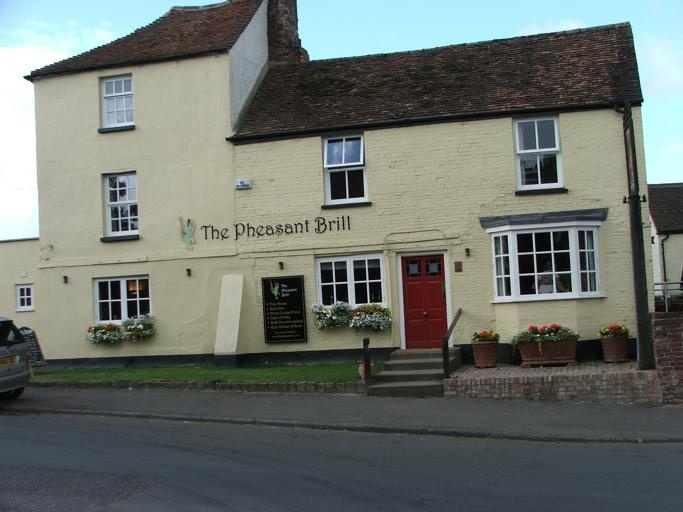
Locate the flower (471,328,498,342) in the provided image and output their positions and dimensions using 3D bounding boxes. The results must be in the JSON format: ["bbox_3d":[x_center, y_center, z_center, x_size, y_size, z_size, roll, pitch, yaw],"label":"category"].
[{"bbox_3d":[3.771,2.081,24.537,0.710,0.307,0.873,-2,-5,8],"label":"flower"}]

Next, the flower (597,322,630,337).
[{"bbox_3d":[6.914,1.889,23.989,0.465,0.238,0.449,-3,-3,-29],"label":"flower"}]

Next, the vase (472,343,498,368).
[{"bbox_3d":[3.684,2.544,24.387,0.807,0.592,0.636,-1,-6,4],"label":"vase"}]

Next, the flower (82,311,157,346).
[{"bbox_3d":[-6.419,2.127,27.099,1.957,0.881,0.616,-3,-5,20],"label":"flower"}]

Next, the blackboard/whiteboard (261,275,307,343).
[{"bbox_3d":[-1.627,1.469,26.258,1.179,1.802,0.261,-3,-5,17],"label":"blackboard/whiteboard"}]

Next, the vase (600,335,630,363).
[{"bbox_3d":[7.044,2.387,24.095,0.736,0.550,0.678,-1,-6,5],"label":"vase"}]
